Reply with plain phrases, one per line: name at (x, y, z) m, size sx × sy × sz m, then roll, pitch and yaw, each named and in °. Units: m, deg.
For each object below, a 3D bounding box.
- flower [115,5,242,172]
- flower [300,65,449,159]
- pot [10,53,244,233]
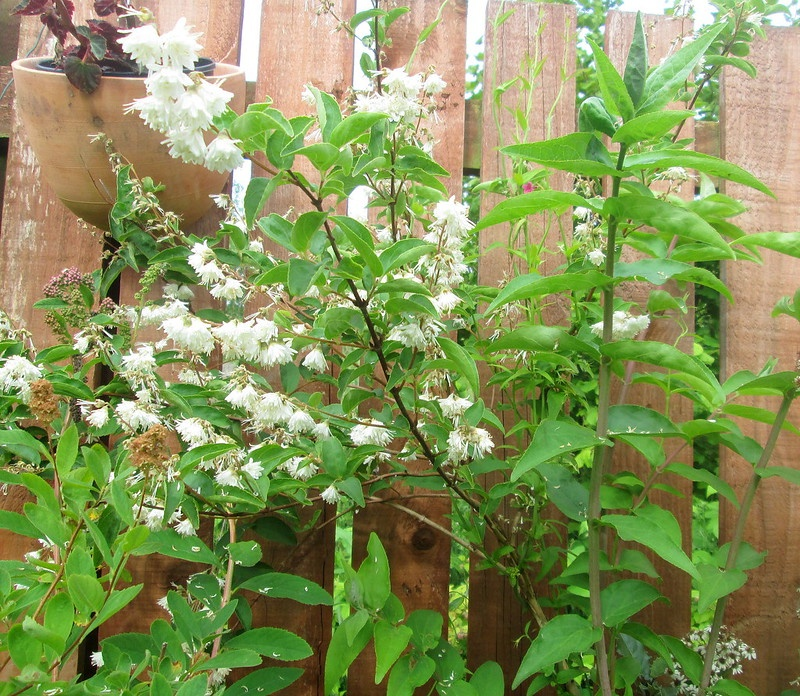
flower at (-0.487, -0.571, 1.935) m, size 0.255 × 0.310 × 0.180 m, roll 4°, pitch 2°, yaw -4°
flower at (-0.066, -0.616, 2.218) m, size 0.380 × 0.356 × 0.241 m, roll 2°, pitch 3°, yaw 10°
pot at (-0.868, -0.594, 2.619) m, size 0.602 × 0.404 × 0.585 m, roll 1°, pitch 5°, yaw 0°
